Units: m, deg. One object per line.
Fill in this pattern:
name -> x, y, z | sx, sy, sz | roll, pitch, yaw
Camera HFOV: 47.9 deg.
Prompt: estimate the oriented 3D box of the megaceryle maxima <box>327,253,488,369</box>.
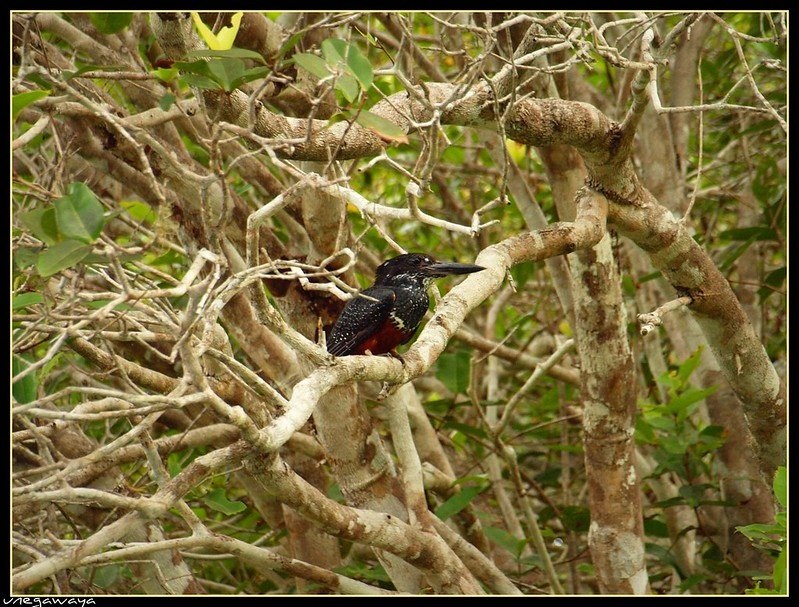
megaceryle maxima -> -0.010, 0.015, 5.020 | 0.962, 0.450, 0.582 | 0, 85, 39
